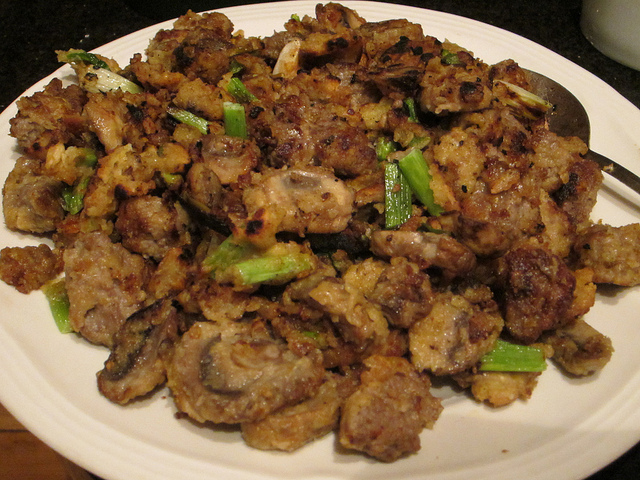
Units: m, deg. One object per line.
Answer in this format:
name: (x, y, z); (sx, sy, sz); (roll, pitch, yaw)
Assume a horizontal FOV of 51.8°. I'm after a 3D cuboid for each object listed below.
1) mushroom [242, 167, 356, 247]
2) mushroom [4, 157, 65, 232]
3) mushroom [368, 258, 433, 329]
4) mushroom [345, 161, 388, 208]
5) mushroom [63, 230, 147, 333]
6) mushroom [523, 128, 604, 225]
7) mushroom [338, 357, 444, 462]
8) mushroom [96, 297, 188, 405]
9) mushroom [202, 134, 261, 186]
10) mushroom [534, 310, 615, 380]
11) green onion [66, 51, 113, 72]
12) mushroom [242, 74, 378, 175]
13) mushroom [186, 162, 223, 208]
mushroom: (-0.110, -0.227, 4.039); (0.591, 0.250, 0.443); (-2, 70, -3)
mushroom: (-1.846, -0.281, 4.373); (0.399, 0.192, 0.472); (-1, 65, 4)
mushroom: (0.473, 0.295, 3.890); (0.373, 0.467, 0.344); (-1, 103, -8)
mushroom: (0.320, -0.333, 4.165); (0.203, 0.359, 0.267); (-6, 110, -2)
mushroom: (-1.348, 0.246, 4.028); (0.503, 0.199, 0.630); (3, 82, -3)
mushroom: (1.631, -0.331, 4.285); (0.489, 0.140, 0.573); (7, 107, -32)
mushroom: (0.387, 0.924, 3.910); (0.608, 0.552, 0.532); (-3, 108, -12)
mushroom: (-1.067, 0.673, 3.961); (0.458, 0.162, 0.616); (29, 58, -4)
mushroom: (-0.562, -0.522, 4.325); (0.374, 0.319, 0.312); (-8, 108, -1)
mushroom: (1.537, 0.577, 4.029); (0.432, 0.199, 0.560); (8, 35, -5)
green onion: (-1.608, -1.256, 4.617); (0.285, 0.113, 0.072); (4, 103, -5)
mushroom: (-0.109, -0.723, 4.225); (0.857, 0.257, 0.513); (27, 64, 9)
mushroom: (-0.707, -0.361, 4.142); (0.179, 0.212, 0.269); (11, 111, 42)
